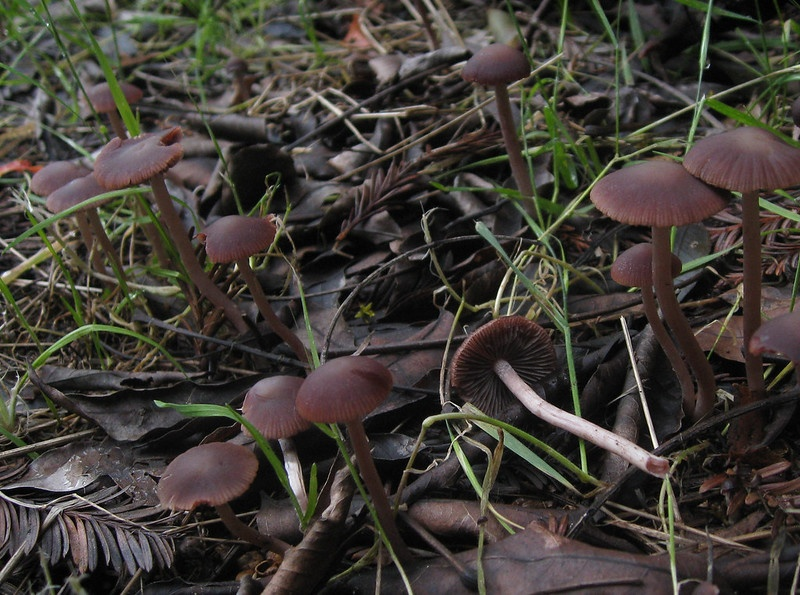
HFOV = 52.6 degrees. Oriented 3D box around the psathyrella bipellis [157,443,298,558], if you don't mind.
[{"bbox_3d":[-0.772,0.924,3.651,0.379,0.413,0.393,-30,32,-24],"label":"psathyrella bipellis"}]
